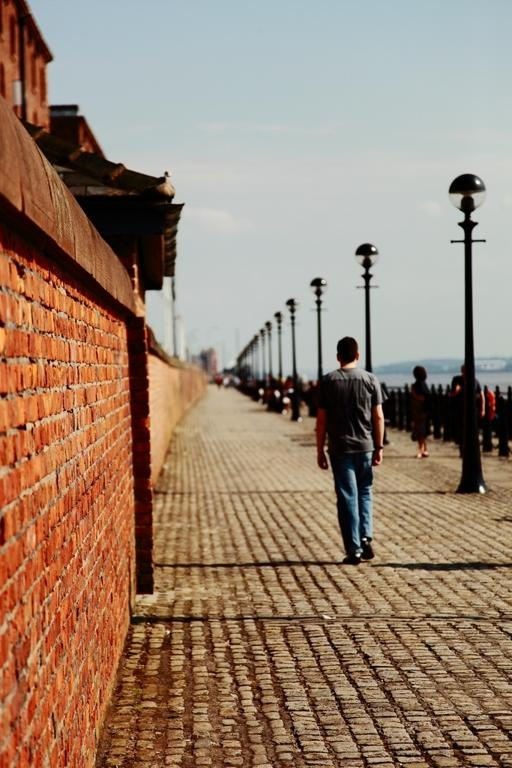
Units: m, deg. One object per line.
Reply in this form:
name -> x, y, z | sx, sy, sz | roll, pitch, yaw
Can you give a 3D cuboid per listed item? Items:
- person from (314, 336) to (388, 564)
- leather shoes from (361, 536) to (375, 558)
person -> 0.729, 0.520, 7.691 | 0.500, 1.546, 0.359 | -1, 0, 5
leather shoes -> 0.890, 1.289, 7.819 | 0.038, 0.165, 0.114 | -2, -25, -13
